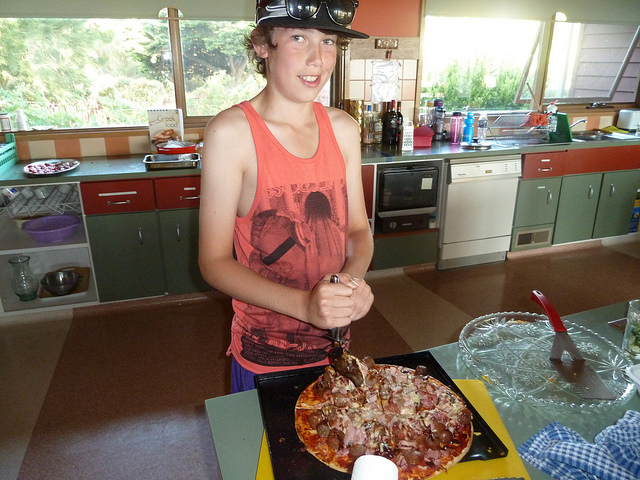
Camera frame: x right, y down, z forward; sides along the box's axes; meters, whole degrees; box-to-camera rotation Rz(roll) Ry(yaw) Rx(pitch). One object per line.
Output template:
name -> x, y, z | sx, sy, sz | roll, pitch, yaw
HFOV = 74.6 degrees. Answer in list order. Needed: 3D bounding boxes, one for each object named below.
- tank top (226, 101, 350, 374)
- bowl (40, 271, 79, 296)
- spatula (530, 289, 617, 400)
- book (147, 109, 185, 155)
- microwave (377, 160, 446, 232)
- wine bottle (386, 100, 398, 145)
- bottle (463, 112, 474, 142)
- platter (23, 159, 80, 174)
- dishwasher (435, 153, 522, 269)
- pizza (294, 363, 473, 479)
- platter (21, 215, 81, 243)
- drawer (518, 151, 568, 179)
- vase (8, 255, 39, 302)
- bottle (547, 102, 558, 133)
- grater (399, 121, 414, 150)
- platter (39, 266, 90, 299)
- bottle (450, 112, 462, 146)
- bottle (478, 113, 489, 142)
tank top -> -0.087, -0.015, 1.286 | 0.435, 0.777, 0.322 | -8, 22, -17
bowl -> -1.909, 0.306, 3.094 | 0.198, 0.079, 0.199 | 5, 34, -3
spatula -> 0.681, 0.262, 1.192 | 0.098, 0.120, 0.364 | -6, 30, 1
book -> -1.180, -0.837, 3.221 | 0.253, 0.317, 0.124 | -7, 22, -13
microwave -> 0.692, -0.379, 3.605 | 0.650, 0.619, 0.443 | -3, 18, 0
wine bottle -> 0.627, -1.023, 3.659 | 0.079, 0.360, 0.108 | -8, 22, -17
bottle -> 1.343, -1.018, 3.800 | 0.089, 0.246, 0.087 | -1, 21, 0
platter -> -1.852, -0.522, 2.940 | 0.291, 0.043, 0.559 | -7, 22, -15
dishwasher -> 1.398, -0.245, 3.684 | 0.763, 0.988, 0.102 | -8, 22, -15
pizza -> 0.156, 0.405, 0.989 | 0.420, 0.092, 0.306 | -8, 22, -16
platter -> -1.903, -0.077, 3.003 | 0.360, 0.108, 0.355 | -14, 24, -29
drawer -> 1.972, -0.657, 3.695 | 0.363, 0.183, 0.274 | -4, 20, -9
vase -> -2.128, 0.276, 3.017 | 0.147, 0.314, 0.149 | -18, 27, -37
bottle -> 2.216, -1.163, 4.013 | 0.102, 0.224, 0.346 | 9, 24, 25
grater -> 0.712, -0.864, 3.462 | 0.110, 0.222, 0.120 | 3, 22, 10
platter -> -1.914, 0.314, 3.140 | 0.338, 0.124, 0.315 | -9, 23, -20
bottle -> 1.228, -1.010, 3.788 | 0.099, 0.263, 0.196 | 5, 22, 17
bottle -> 1.528, -1.052, 3.939 | 0.096, 0.238, 0.479 | 6, 23, 19
